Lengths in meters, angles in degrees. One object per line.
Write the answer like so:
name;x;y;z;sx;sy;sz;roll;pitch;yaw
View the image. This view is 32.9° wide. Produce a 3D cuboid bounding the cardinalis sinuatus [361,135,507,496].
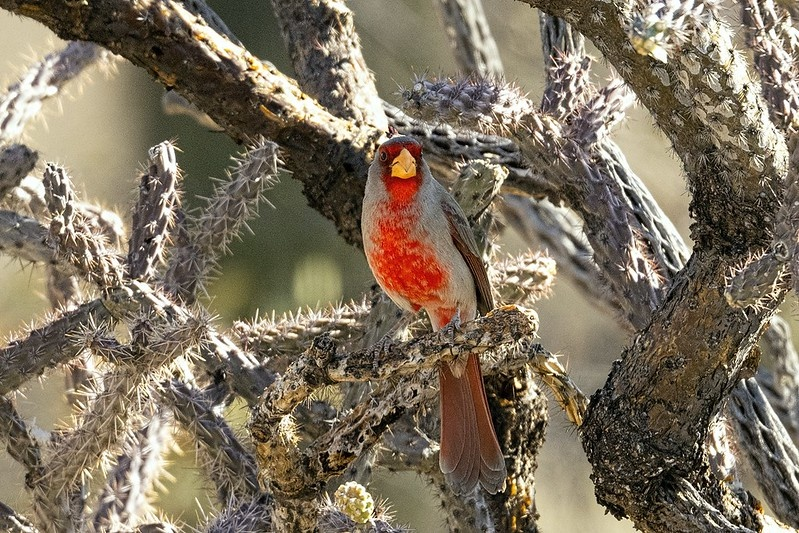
cardinalis sinuatus;0.221;0.120;6.828;0.513;0.679;2.149;-8;-87;12
